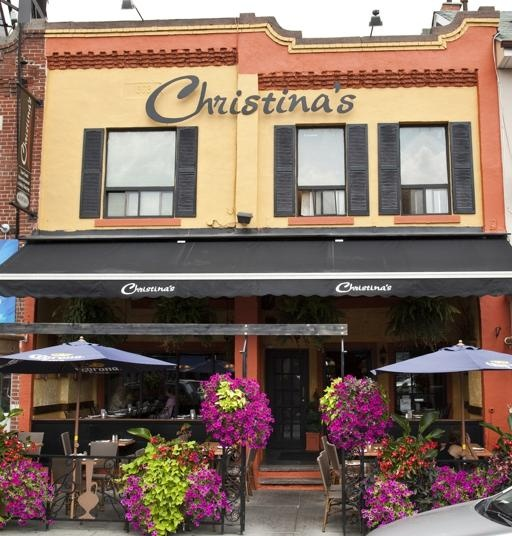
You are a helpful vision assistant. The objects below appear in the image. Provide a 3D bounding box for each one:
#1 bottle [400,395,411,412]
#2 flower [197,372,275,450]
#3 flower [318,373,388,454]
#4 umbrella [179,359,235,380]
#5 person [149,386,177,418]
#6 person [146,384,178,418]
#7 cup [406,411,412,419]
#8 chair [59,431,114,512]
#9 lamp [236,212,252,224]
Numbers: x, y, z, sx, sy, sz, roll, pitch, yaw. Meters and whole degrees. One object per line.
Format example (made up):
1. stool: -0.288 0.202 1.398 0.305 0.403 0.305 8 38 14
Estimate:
1. bottle: 3.482 3.146 21.395 0.271 0.370 0.340 2 -8 5
2. flower: -0.259 2.312 14.791 1.039 0.887 1.175 8 -2 8
3. flower: 1.662 2.251 14.439 0.831 0.908 0.815 12 -3 -15
4. umbrella: -1.099 2.302 21.066 1.259 0.345 0.910 -1 -7 3
5. person: -2.129 3.064 21.011 0.595 1.036 0.608 1 -14 3
6. person: -2.110 3.073 21.025 0.693 0.720 0.478 0 -11 1
7. cup: 3.263 3.124 19.622 0.154 0.105 0.228 0 -3 5
8. chair: -2.872 3.596 16.058 0.993 1.384 0.915 -4 -11 9
9. lamp: -0.209 -1.000 18.442 0.317 0.236 0.357 -1 -12 -1
